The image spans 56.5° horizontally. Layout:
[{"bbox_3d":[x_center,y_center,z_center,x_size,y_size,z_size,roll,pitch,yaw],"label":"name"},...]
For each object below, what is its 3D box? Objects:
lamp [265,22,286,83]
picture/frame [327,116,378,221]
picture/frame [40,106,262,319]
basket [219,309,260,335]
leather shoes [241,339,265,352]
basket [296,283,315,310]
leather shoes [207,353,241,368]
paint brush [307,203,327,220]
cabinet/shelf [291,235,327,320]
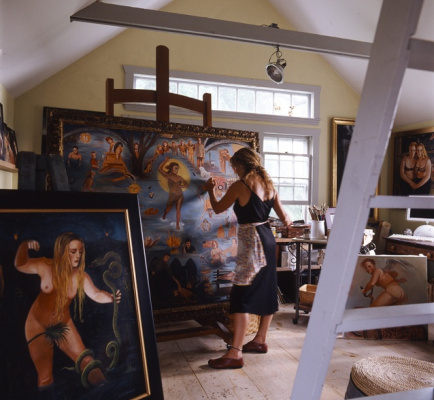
[{"bbox_3d":[0.567,-1.404,3.995,0.150,0.348,0.148,3,11,33],"label":"lamp"},{"bbox_3d":[1.688,-0.514,5.058,0.585,1.481,0.076,1,-34,17],"label":"picture/frame"},{"bbox_3d":[-0.362,0.103,2.377,1.368,1.258,0.097,3,-9,-38],"label":"picture/frame"},{"bbox_3d":[0.173,0.926,3.053,0.272,0.124,0.225,5,-4,-22],"label":"basket"},{"bbox_3d":[0.267,1.075,3.018,0.192,0.090,0.079,2,0,2],"label":"leather shoes"},{"bbox_3d":[0.819,0.902,3.787,0.149,0.215,0.229,0,1,14],"label":"basket"},{"bbox_3d":[0.048,1.047,2.711,0.176,0.079,0.096,5,-4,-1],"label":"leather shoes"},{"bbox_3d":[1.039,0.115,4.249,0.183,0.206,0.164,0,-3,-4],"label":"paint brush"},{"bbox_3d":[0.888,0.689,3.810,0.365,0.608,0.382,-15,-13,41],"label":"cabinet/shelf"}]
